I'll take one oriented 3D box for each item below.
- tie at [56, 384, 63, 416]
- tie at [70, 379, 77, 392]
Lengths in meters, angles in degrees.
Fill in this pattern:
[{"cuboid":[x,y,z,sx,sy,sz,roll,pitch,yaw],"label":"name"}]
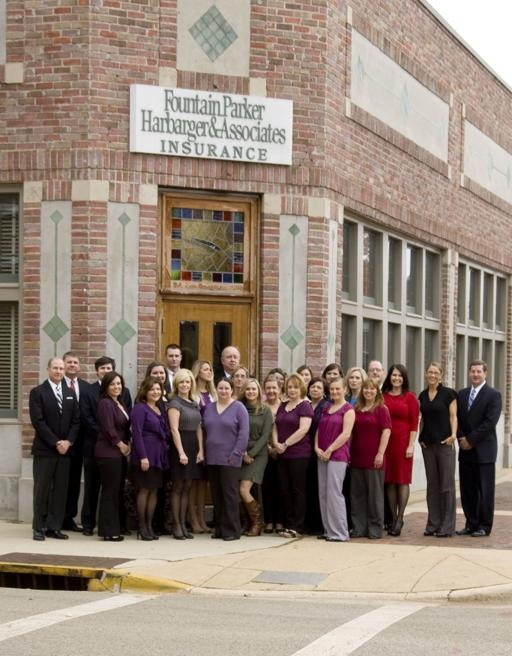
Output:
[{"cuboid":[-2.205,0.777,13.468,0.075,0.320,0.103,4,-7,-24],"label":"tie"},{"cuboid":[-2.083,0.644,13.687,0.046,0.057,0.212,1,25,-8],"label":"tie"}]
